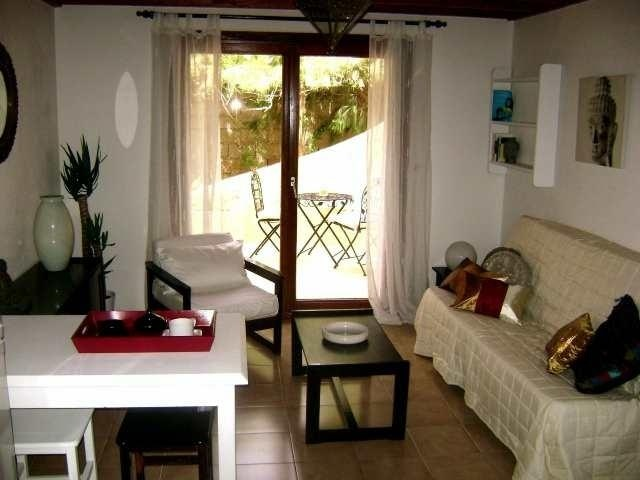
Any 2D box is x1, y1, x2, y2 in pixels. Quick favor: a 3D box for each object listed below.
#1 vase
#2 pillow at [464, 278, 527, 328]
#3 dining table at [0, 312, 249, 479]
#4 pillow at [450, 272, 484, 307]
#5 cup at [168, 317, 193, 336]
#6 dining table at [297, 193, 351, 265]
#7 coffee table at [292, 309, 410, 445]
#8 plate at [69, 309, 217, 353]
[{"bbox_3d":[-2.034,-0.066,3.902,0.282,0.562,0.298,0,14,-15],"label":"vase"},{"bbox_3d":[1.351,0.417,4.083,0.449,0.151,0.507,-11,9,6],"label":"pillow"},{"bbox_3d":[-0.817,0.890,2.406,0.885,0.972,0.715,-1,16,-3],"label":"dining table"},{"bbox_3d":[1.146,0.370,4.000,0.072,0.264,0.218,22,-16,-28],"label":"pillow"},{"bbox_3d":[-0.586,0.362,2.161,0.081,0.067,0.067,1,-1,-10],"label":"cup"},{"bbox_3d":[0.049,-0.168,4.948,0.471,0.610,0.520,-2,-12,3],"label":"dining table"},{"bbox_3d":[0.149,0.938,3.693,0.651,0.559,1.048,0,9,-7],"label":"coffee table"},{"bbox_3d":[-0.742,0.403,2.150,0.405,0.065,0.265,2,17,-4],"label":"plate"}]
